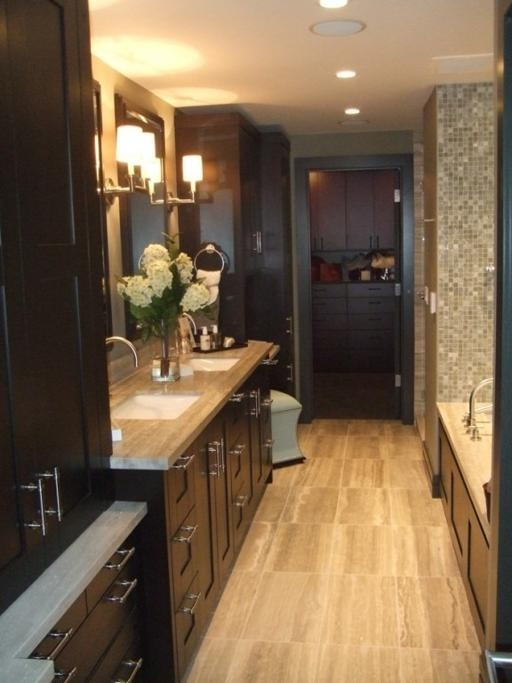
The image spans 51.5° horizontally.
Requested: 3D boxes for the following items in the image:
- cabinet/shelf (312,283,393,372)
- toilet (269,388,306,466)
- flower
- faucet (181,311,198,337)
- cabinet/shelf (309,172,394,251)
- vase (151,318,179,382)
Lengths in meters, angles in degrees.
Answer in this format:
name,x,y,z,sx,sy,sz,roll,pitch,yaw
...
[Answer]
name,x,y,z,sx,sy,sz,roll,pitch,yaw
cabinet/shelf,1.388,-0.238,7.457,1.126,1.187,0.391,1,2,6
toilet,0.186,0.614,4.277,0.292,0.372,0.224,10,-2,44
flower,-0.395,-0.197,2.803,0.608,0.826,0.530,-5,9,-28
faucet,-0.455,-0.104,3.765,0.092,0.152,0.166,-2,-7,0
cabinet/shelf,1.364,-1.864,7.401,1.348,1.352,0.536,0,5,7
vase,-0.480,0.055,2.732,0.137,0.340,0.140,1,-19,-22
